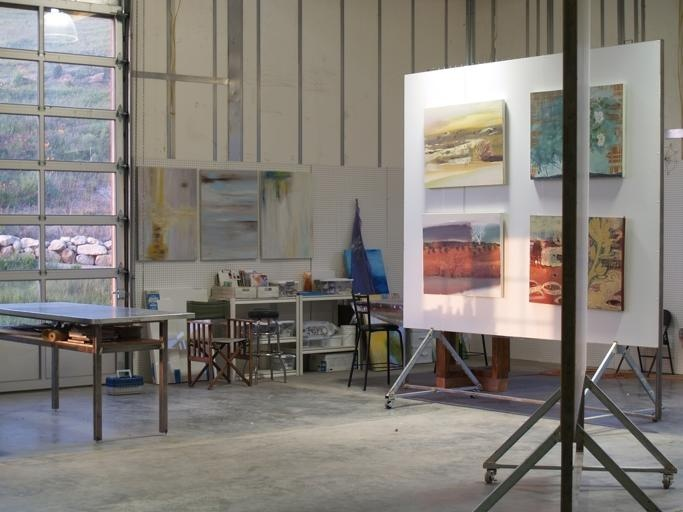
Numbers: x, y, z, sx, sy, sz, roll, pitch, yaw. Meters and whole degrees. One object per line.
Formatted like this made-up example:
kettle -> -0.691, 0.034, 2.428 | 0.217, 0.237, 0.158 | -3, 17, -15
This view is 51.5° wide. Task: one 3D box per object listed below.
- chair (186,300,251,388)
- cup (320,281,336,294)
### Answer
chair -> -1.704, 1.243, 10.043 | 0.846, 1.161, 0.851 | -2, -2, 39
cup -> -0.199, 0.518, 11.256 | 0.246, 0.230, 0.182 | 3, -4, -34
